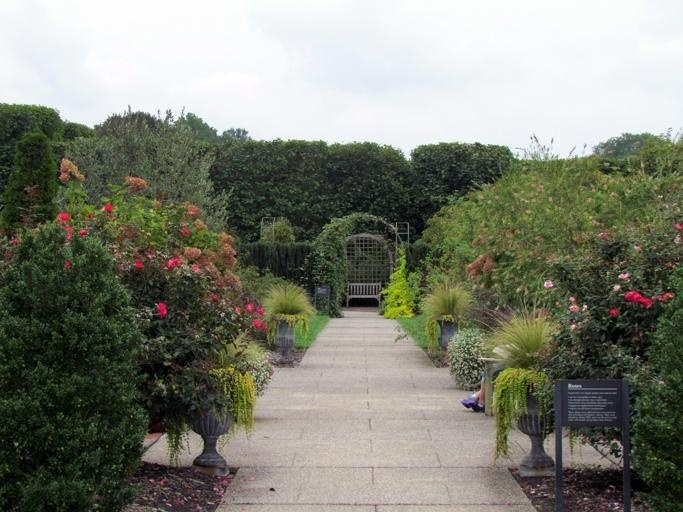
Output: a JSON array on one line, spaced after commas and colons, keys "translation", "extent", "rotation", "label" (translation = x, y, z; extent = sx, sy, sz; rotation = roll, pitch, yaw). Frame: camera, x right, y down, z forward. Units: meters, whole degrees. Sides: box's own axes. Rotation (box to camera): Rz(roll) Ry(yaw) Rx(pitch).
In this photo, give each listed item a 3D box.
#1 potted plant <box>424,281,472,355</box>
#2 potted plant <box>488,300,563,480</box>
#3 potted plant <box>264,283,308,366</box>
[{"translation": [1.892, 1.125, 11.560], "extent": [1.008, 1.549, 1.038], "rotation": [1, -1, 11], "label": "potted plant"}, {"translation": [1.626, 1.310, 5.887], "extent": [0.720, 1.425, 0.627], "rotation": [5, -12, -34], "label": "potted plant"}, {"translation": [-0.985, 1.265, 12.158], "extent": [1.087, 1.668, 1.127], "rotation": [-1, -9, 10], "label": "potted plant"}]
